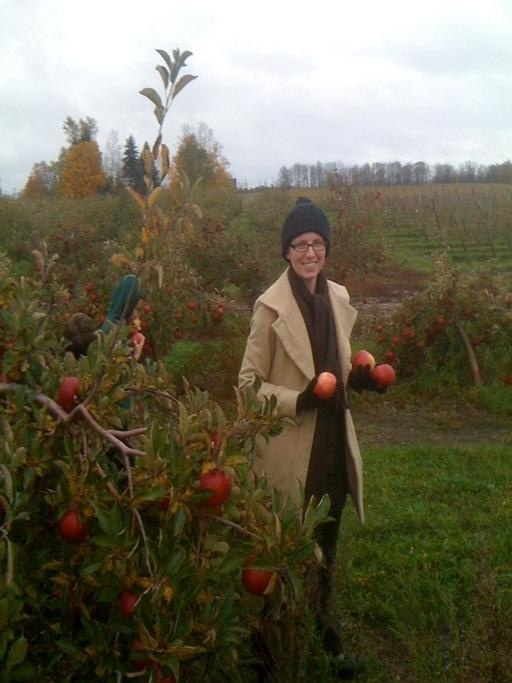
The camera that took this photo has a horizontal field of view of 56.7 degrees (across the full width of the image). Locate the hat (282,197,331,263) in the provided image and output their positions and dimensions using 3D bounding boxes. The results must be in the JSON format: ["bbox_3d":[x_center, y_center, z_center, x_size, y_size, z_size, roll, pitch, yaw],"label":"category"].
[{"bbox_3d":[0.242,-0.594,2.484,0.176,0.290,0.313,3,-9,-1],"label":"hat"}]

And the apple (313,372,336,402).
[{"bbox_3d":[0.274,0.172,1.967,0.089,0.131,0.097,12,23,2],"label":"apple"}]

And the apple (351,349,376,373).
[{"bbox_3d":[0.556,0.103,2.490,0.100,0.132,0.100,10,25,23],"label":"apple"}]
